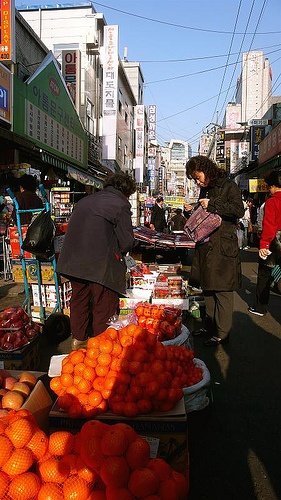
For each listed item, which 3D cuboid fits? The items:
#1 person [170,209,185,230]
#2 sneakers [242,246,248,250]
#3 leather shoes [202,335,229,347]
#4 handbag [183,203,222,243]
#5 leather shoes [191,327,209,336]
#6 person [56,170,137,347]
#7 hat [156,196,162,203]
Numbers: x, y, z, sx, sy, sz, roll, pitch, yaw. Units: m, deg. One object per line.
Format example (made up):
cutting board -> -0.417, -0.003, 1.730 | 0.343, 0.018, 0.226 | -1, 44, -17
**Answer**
person -> 1.343, -1.015, 12.442 | 0.382, 0.759, 0.978 | 0, 4, -5
sneakers -> 4.558, -0.068, 15.463 | 0.133, 0.127, 0.369 | -7, -6, 27
leather shoes -> 0.866, 1.054, 4.185 | 0.304, 0.156, 0.122 | 4, -4, -8
handbag -> 0.676, -0.277, 3.869 | 0.316, 0.399, 0.144 | 50, 20, 22
leather shoes -> 0.728, 0.997, 4.385 | 0.217, 0.089, 0.095 | -6, -27, 11
person -> -0.351, 0.077, 3.247 | 0.600, 1.607, 0.695 | 2, 4, 23
hat -> 0.724, -1.871, 13.339 | 0.212, 0.230, 0.178 | -4, 44, -19
